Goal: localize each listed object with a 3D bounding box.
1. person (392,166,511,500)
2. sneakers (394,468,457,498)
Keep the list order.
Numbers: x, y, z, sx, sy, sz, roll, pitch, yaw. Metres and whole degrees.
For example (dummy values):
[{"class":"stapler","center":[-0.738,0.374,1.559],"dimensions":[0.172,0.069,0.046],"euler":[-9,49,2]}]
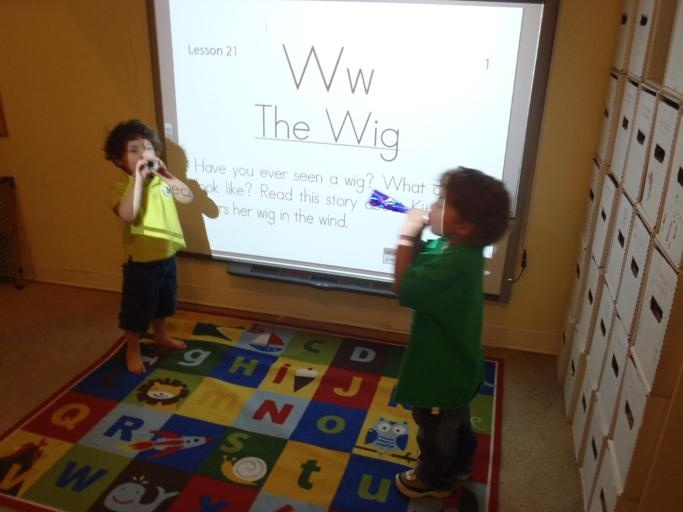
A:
[{"class":"person","center":[0.395,0.346,1.971],"dimensions":[0.389,1.341,0.364],"euler":[8,25,19]},{"class":"sneakers","center":[0.369,0.973,2.153],"dimensions":[0.220,0.118,0.111],"euler":[6,18,4]}]
